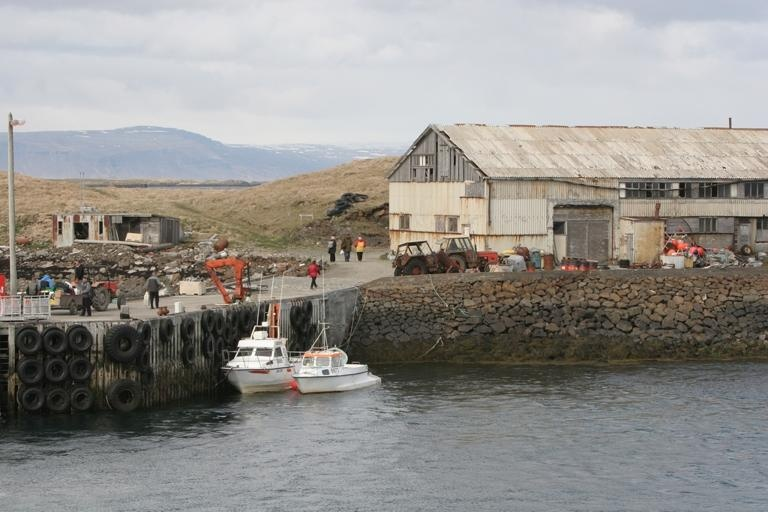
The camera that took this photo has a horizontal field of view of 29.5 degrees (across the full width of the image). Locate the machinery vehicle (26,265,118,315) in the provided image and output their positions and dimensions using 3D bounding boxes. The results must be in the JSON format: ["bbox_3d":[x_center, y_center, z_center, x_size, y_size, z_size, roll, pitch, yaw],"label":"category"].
[{"bbox_3d":[-16.335,2.088,77.916,4.251,1.915,8.736,-1,-2,-13],"label":"machinery vehicle"}]
